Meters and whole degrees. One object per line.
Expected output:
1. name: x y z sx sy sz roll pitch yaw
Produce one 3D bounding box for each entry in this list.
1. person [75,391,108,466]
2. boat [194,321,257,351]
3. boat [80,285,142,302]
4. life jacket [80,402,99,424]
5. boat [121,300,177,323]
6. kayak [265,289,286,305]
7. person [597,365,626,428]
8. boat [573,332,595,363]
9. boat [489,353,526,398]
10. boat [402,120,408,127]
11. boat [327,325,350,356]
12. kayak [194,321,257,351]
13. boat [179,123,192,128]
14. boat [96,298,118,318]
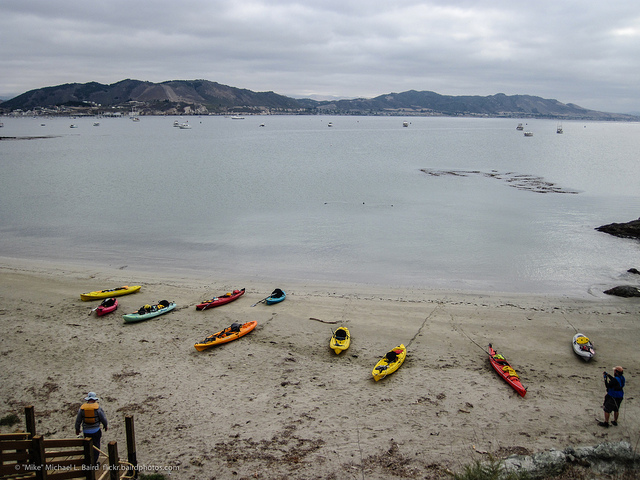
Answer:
1. person: -9.600 7.783 21.945 1.749 2.755 1.125 -5 10 -14
2. boat: -5.507 5.764 32.113 4.159 0.715 1.201 -19 21 -35
3. boat: -14.606 3.931 37.479 3.959 0.566 1.125 -7 23 -31
4. life jacket: -9.450 7.224 21.933 0.667 0.798 0.443 -8 16 -19
5. boat: -11.188 4.692 34.672 1.184 0.658 3.802 11 14 39
6. kayak: -3.009 3.934 36.577 0.976 0.704 1.585 2 12 15
7. person: 13.820 7.405 25.111 0.903 3.086 1.117 5 18 26
8. boat: 15.294 6.099 30.706 1.053 0.633 2.522 -12 21 14
9. boat: 10.078 7.202 28.521 0.646 0.426 2.553 3 19 -15
10. boat: 41.298 -56.031 255.524 2.814 1.595 11.159 2 20 9
11. boat: 1.230 5.917 31.644 1.182 0.661 2.833 8 16 4
12. kayak: -5.614 5.788 31.906 0.966 0.832 4.014 11 16 43
13. boat: -57.407 -49.148 228.935 3.131 2.636 8.270 7 18 14
14. boat: -14.105 4.525 35.011 0.996 0.758 1.742 -2 12 0
